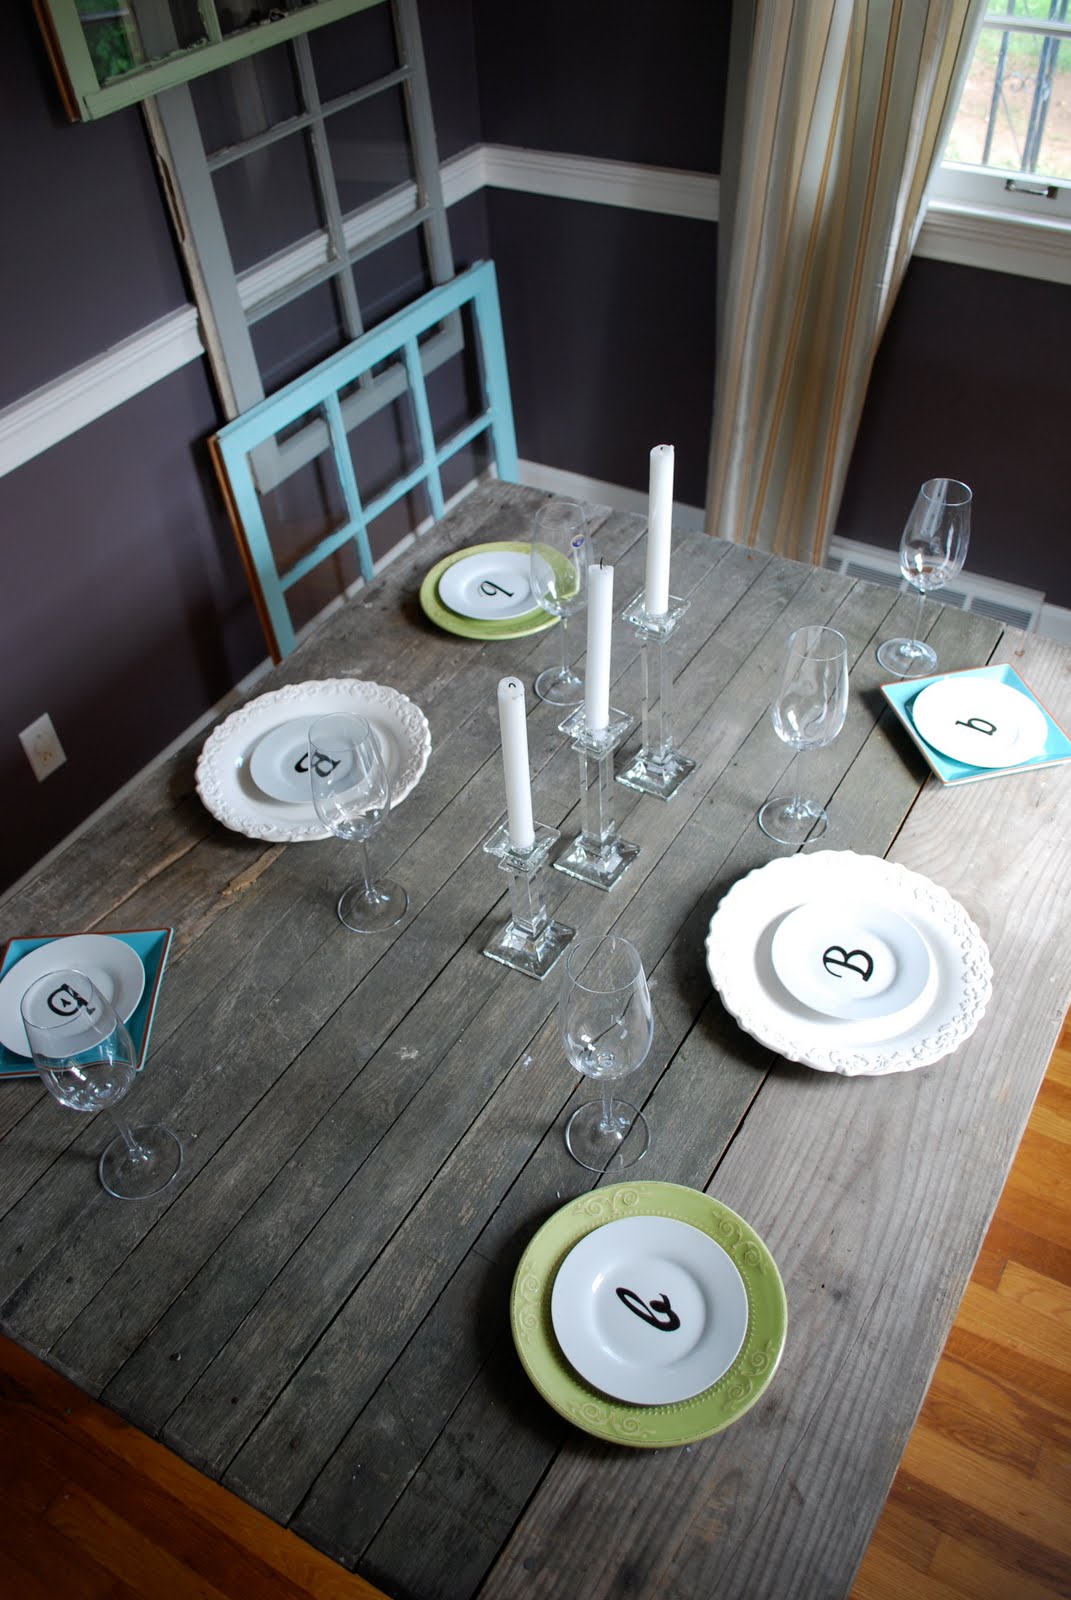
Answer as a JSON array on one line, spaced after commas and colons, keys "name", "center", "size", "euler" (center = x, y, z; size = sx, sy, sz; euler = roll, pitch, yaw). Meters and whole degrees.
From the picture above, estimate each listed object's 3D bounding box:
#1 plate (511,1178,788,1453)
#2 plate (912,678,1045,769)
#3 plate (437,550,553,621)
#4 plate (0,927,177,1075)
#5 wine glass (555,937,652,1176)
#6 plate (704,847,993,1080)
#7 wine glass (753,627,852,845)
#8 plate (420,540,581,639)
[{"name": "plate", "center": [0.083, 0.378, 0.819], "size": [0.200, 0.020, 0.206], "euler": [29, 50, 35]}, {"name": "plate", "center": [0.548, -0.094, 1.343], "size": [0.119, 0.021, 0.124], "euler": [18, 54, 14]}, {"name": "plate", "center": [-0.053, -0.344, 1.570], "size": [0.142, 0.020, 0.148], "euler": [19, 52, 17]}, {"name": "plate", "center": [-0.419, 0.199, 1.095], "size": [0.133, 0.024, 0.142], "euler": [-3, 48, -2]}, {"name": "wine glass", "center": [0.058, 0.227, 0.911], "size": [0.073, 0.202, 0.078], "euler": [5, 50, 6]}, {"name": "plate", "center": [0.309, 0.157, 1.064], "size": [0.200, 0.037, 0.212], "euler": [12, 49, 15]}, {"name": "wine glass", "center": [0.307, -0.060, 1.240], "size": [0.083, 0.260, 0.086], "euler": [13, 57, 13]}, {"name": "plate", "center": [-0.051, -0.330, 1.523], "size": [0.170, 0.020, 0.178], "euler": [20, 51, 22]}]
